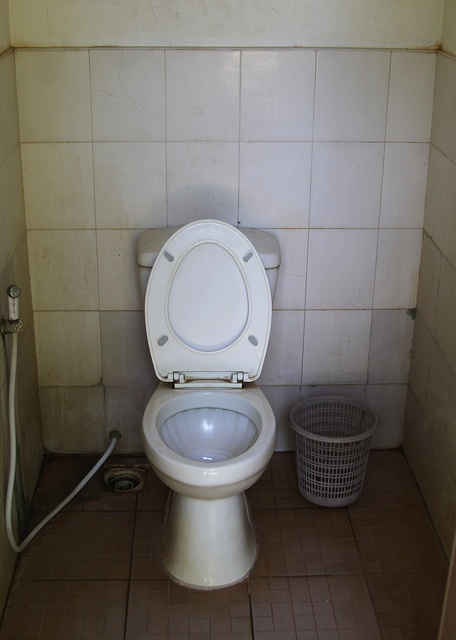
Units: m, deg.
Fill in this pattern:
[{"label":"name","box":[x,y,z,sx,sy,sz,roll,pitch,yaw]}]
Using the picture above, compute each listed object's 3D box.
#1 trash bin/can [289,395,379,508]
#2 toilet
[{"label":"trash bin/can","box":[0.361,0.466,1.844,0.251,0.289,0.291,-3,14,-3]},{"label":"toilet","box":[-0.056,0.226,1.445,0.366,0.957,0.474,0,13,0]}]
